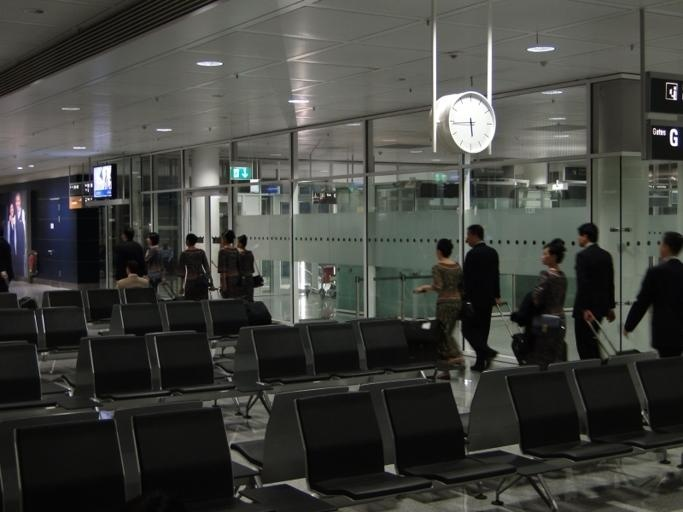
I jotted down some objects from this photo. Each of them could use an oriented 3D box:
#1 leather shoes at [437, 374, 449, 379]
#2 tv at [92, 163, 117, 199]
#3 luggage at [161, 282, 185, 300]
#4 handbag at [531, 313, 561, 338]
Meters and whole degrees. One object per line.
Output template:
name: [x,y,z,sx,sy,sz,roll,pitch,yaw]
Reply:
leather shoes: [1.321,1.560,8.275,0.096,0.043,0.127,2,-4,-11]
tv: [-7.385,-2.312,19.893,0.168,0.826,1.172,-4,5,-39]
luggage: [-4.568,0.948,17.285,0.735,0.281,1.228,-4,3,-27]
handbag: [2.154,0.722,6.706,0.315,0.224,0.201,0,-7,24]
